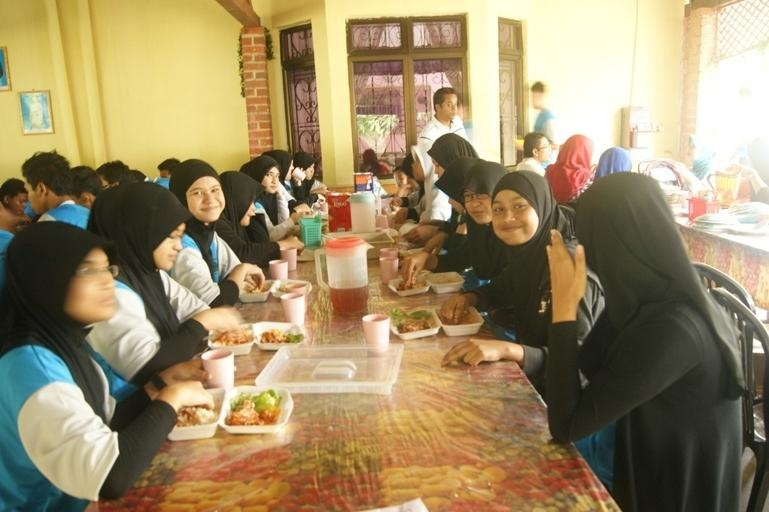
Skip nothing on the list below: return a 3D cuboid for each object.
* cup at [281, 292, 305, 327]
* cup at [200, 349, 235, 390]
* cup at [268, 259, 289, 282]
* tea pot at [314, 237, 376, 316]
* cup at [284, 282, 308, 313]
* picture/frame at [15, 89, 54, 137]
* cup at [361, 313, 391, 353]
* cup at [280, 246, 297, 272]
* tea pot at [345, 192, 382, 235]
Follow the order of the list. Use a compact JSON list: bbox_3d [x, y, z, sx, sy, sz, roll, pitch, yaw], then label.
[{"bbox_3d":[-0.378,0.225,2.392,0.095,0.120,0.140,-4,4,0],"label":"cup"},{"bbox_3d":[-0.578,0.394,1.911,0.107,0.122,0.132,-3,0,-4],"label":"cup"},{"bbox_3d":[-0.564,0.082,2.955,0.113,0.103,0.099,-4,1,-6],"label":"cup"},{"bbox_3d":[-0.151,0.067,2.662,0.384,0.420,0.269,-4,5,2],"label":"tea pot"},{"bbox_3d":[-0.411,0.193,2.653,0.126,0.120,0.103,-1,9,32],"label":"cup"},{"bbox_3d":[-4.951,-2.048,7.723,0.645,0.827,0.059,-1,12,-7],"label":"picture/frame"},{"bbox_3d":[-0.027,0.295,2.128,0.105,0.116,0.127,-2,4,2],"label":"cup"},{"bbox_3d":[-0.546,0.028,3.114,0.112,0.125,0.118,-2,6,0],"label":"cup"},{"bbox_3d":[-0.147,-0.262,3.447,0.229,0.272,0.236,-1,4,0],"label":"tea pot"}]
